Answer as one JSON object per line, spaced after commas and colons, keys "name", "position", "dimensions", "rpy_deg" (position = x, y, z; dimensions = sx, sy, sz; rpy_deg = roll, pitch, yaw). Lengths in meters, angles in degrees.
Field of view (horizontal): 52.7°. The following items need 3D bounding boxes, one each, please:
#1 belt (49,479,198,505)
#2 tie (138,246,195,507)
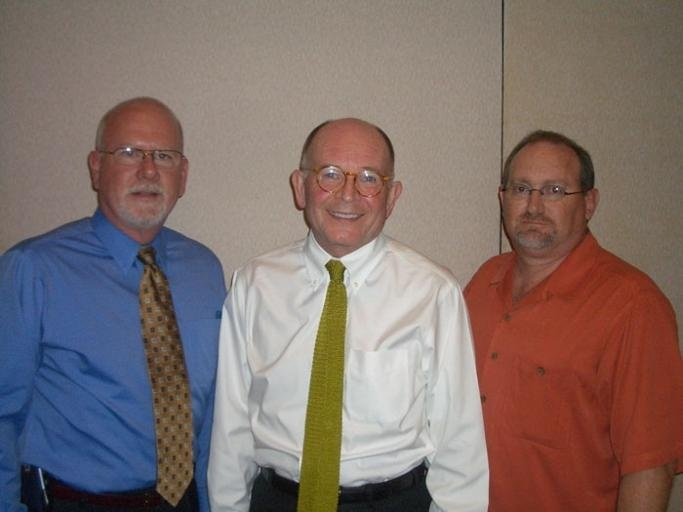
{"name": "belt", "position": [-0.953, 0.960, 2.807], "dimensions": [0.476, 0.128, 0.024], "rpy_deg": [-1, 5, -8]}
{"name": "tie", "position": [-0.765, 0.485, 2.973], "dimensions": [0.181, 1.125, 0.094], "rpy_deg": [-7, -8, -19]}
